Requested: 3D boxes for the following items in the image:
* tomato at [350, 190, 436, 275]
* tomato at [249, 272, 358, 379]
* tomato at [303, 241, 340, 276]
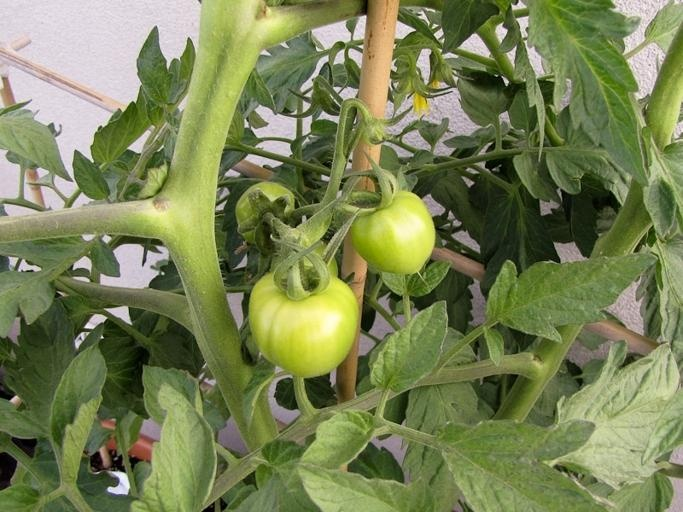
[{"bbox_3d":[0.038,-0.014,0.421,0.054,0.058,0.056,-26,16,13],"label":"tomato"},{"bbox_3d":[-0.021,0.045,0.389,0.061,0.062,0.066,-6,26,4],"label":"tomato"},{"bbox_3d":[-0.012,0.002,0.419,0.016,0.028,0.073,5,11,7],"label":"tomato"}]
